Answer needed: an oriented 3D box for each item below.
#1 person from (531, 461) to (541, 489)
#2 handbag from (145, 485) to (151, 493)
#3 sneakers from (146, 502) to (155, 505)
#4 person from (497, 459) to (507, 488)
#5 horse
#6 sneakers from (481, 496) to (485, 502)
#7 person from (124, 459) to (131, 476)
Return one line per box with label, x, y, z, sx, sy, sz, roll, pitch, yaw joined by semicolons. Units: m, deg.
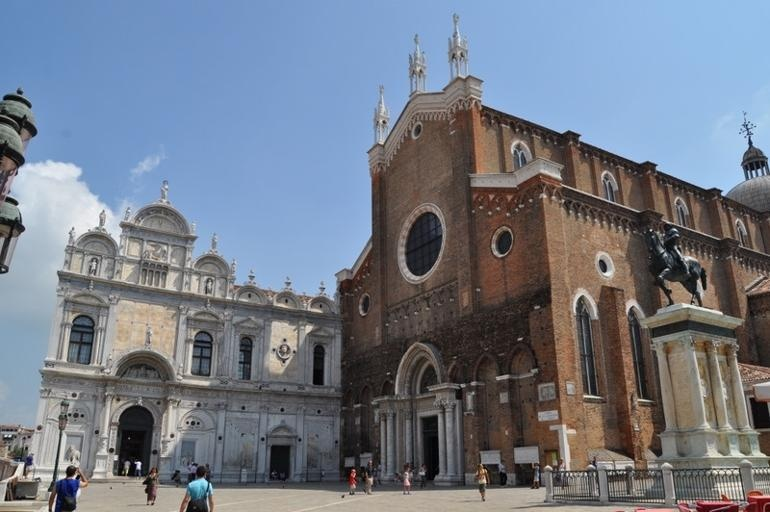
person;8.269;11.942;32.416;0.500;1.342;1.162;-9;-25;16
handbag;-10.879;10.830;27.458;0.189;0.338;0.491;14;-29;-32
sneakers;-10.890;11.485;27.562;0.163;0.122;0.312;-2;-21;5
person;6.835;12.680;34.772;0.342;1.314;0.684;12;-27;-28
horse;14.119;0.479;28.988;2.852;4.304;1.230;14;-28;-31
sneakers;4.569;11.172;27.330;0.145;0.204;0.483;-3;-29;3
person;-18.075;14.815;41.701;0.447;1.220;1.527;8;-26;-21
